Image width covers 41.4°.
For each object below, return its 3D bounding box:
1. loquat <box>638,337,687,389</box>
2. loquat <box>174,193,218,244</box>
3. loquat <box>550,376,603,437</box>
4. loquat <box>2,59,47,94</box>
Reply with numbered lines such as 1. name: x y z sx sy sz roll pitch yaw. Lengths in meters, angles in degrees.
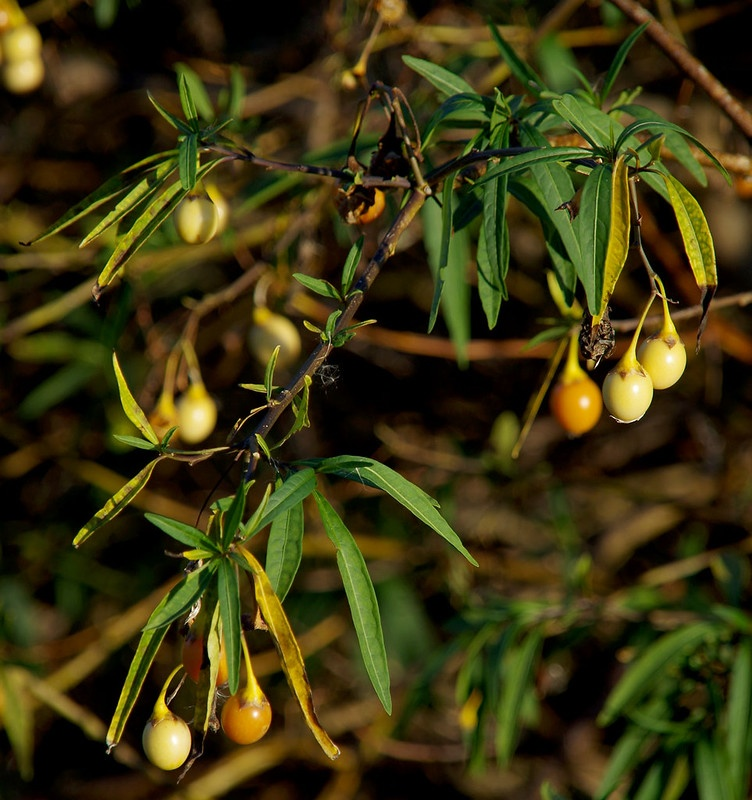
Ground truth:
1. loquat: 0.352 -0.044 1.240 0.069 0.063 0.066 -8 9 -42
2. loquat: -0.241 -0.240 1.328 0.071 0.065 0.062 -8 22 -18
3. loquat: 0.316 0.009 1.603 0.094 0.089 0.094 6 9 41
4. loquat: -0.497 -0.460 1.424 0.051 0.049 0.033 0 19 -20
